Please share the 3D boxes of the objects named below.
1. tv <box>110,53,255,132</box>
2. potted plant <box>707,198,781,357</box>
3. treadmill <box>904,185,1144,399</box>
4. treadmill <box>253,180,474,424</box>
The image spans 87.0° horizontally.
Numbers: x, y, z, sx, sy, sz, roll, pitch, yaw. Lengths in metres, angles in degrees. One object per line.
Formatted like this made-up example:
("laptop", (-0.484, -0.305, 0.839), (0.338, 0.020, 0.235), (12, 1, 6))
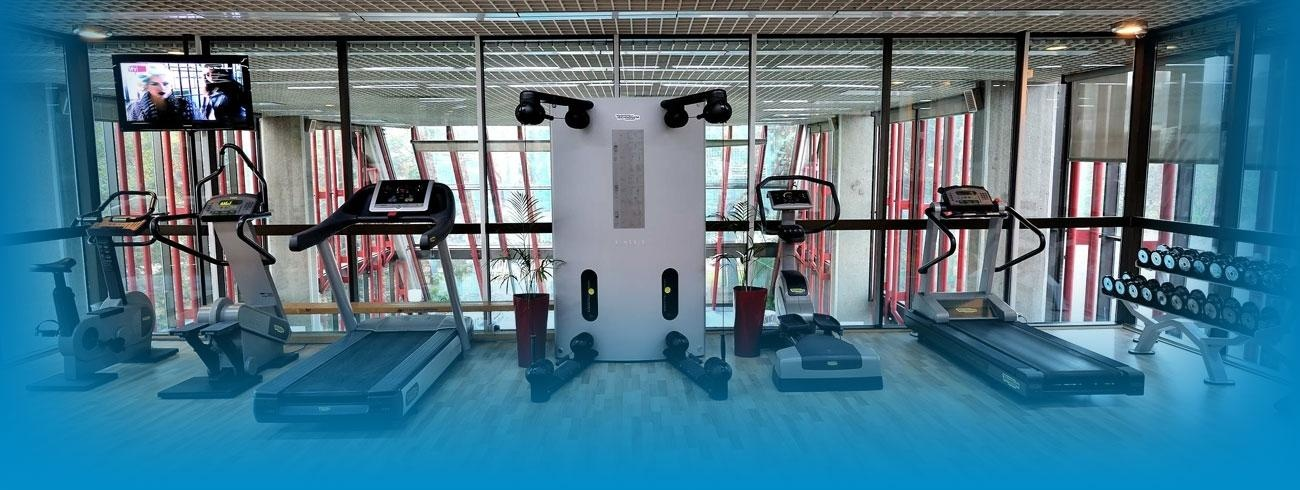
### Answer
("tv", (-9.112, -2.946, 13.280), (2.726, 1.077, 0.211), (0, 7, -3))
("potted plant", (2.077, 0.647, 13.817), (1.113, 3.002, 1.467), (-1, 15, 8))
("treadmill", (7.038, 1.092, 13.156), (2.559, 2.196, 3.675), (-8, 22, -19))
("treadmill", (-5.231, 0.986, 12.536), (2.796, 4.182, 2.665), (1, 15, 14))
